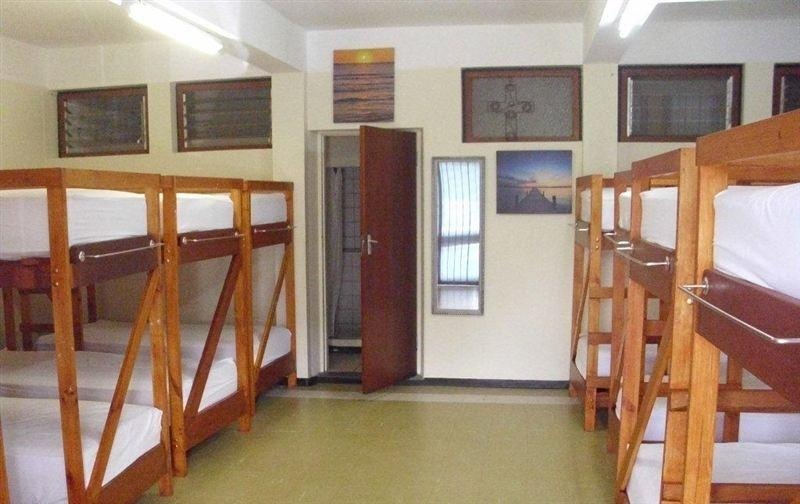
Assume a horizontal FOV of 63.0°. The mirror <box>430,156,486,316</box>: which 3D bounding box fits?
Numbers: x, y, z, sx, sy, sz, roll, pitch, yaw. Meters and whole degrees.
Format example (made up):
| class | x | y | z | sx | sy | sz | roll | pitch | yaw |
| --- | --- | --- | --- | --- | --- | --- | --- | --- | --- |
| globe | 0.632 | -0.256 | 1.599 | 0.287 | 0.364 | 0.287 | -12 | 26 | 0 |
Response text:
| class | x | y | z | sx | sy | sz | roll | pitch | yaw |
| --- | --- | --- | --- | --- | --- | --- | --- | --- | --- |
| mirror | 0.612 | -0.255 | 6.819 | 0.601 | 1.424 | 0.107 | 4 | 13 | 27 |
